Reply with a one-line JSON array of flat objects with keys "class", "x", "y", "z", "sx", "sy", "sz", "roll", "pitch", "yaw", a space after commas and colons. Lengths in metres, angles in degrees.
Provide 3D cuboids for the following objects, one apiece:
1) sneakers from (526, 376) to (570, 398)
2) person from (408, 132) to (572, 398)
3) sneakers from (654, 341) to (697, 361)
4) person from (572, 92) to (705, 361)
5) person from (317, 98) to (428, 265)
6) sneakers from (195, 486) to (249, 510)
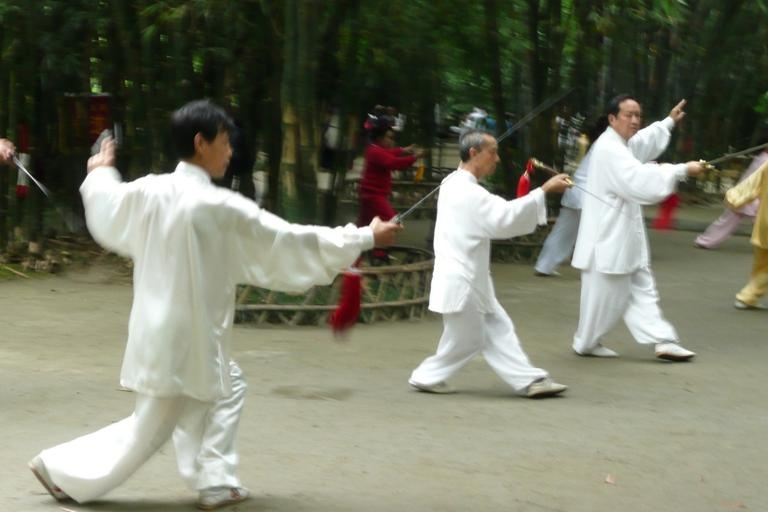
[{"class": "sneakers", "x": 1.347, "y": 1.101, "z": 9.985, "sx": 0.431, "sy": 0.159, "sz": 0.146, "roll": -5, "pitch": 3, "yaw": -1}, {"class": "person", "x": 0.917, "y": 0.091, "z": 9.964, "sx": 1.248, "sy": 2.222, "sz": 0.775, "roll": 8, "pitch": 19, "yaw": 14}, {"class": "sneakers", "x": 2.755, "y": 0.877, "z": 10.933, "sx": 0.440, "sy": 0.133, "sz": 0.159, "roll": 3, "pitch": -19, "yaw": -5}, {"class": "person", "x": 2.357, "y": -0.250, "z": 11.120, "sx": 1.056, "sy": 2.463, "sz": 1.203, "roll": 5, "pitch": 18, "yaw": 7}, {"class": "person", "x": -0.149, "y": -0.865, "z": 12.886, "sx": 1.197, "sy": 2.281, "sz": 1.023, "roll": -16, "pitch": 36, "yaw": -27}, {"class": "sneakers", "x": -1.137, "y": 1.676, "z": 8.246, "sx": 0.355, "sy": 0.126, "sz": 0.136, "roll": -4, "pitch": 11, "yaw": -32}]
